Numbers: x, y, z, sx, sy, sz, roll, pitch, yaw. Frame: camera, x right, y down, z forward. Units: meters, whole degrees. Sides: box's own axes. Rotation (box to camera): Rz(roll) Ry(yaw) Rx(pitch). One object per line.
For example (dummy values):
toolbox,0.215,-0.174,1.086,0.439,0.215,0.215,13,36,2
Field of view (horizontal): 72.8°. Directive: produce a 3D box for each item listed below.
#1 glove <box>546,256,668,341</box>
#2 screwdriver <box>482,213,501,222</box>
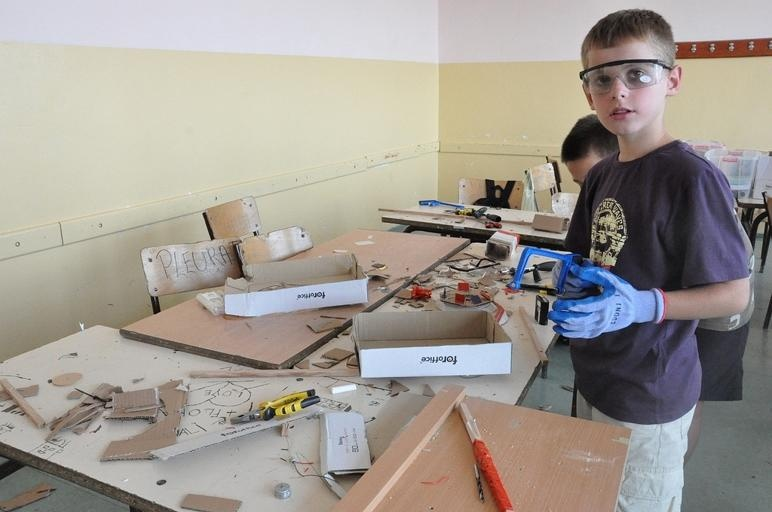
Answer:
glove,0.701,0.148,1.682,0.343,0.230,0.120,1,18,16
screwdriver,0.723,-0.275,3.583,0.059,0.055,0.143,26,-10,-38
